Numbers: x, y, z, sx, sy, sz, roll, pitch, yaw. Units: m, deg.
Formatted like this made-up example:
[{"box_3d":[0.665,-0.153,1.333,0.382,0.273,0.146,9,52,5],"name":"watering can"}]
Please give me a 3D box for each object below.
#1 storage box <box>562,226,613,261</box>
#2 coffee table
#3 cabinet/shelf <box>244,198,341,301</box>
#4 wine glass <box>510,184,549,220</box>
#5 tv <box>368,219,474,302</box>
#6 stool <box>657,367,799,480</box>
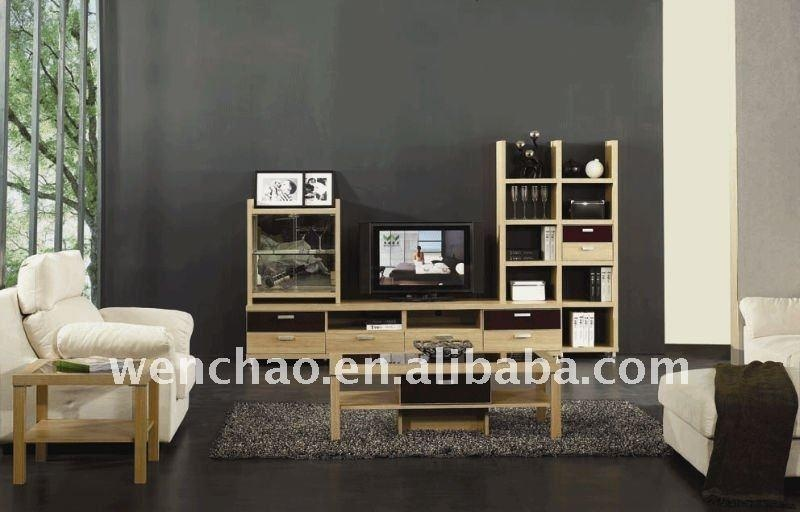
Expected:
[{"box_3d":[2.154,-0.156,8.288,0.689,0.456,0.384,0,-1,1],"name":"storage box"},{"box_3d":[0.411,1.171,6.148,2.005,0.712,0.436,-1,4,-3],"name":"coffee table"},{"box_3d":[-1.196,-0.060,8.091,1.214,1.219,0.412,0,1,-1],"name":"cabinet/shelf"},{"box_3d":[1.504,-0.651,8.490,0.419,0.340,0.133,-1,4,0],"name":"wine glass"},{"box_3d":[0.201,-0.080,8.607,1.583,1.049,0.795,0,-2,-2],"name":"tv"},{"box_3d":[2.308,1.311,5.671,0.311,0.750,0.686,-1,4,-3],"name":"stool"}]
